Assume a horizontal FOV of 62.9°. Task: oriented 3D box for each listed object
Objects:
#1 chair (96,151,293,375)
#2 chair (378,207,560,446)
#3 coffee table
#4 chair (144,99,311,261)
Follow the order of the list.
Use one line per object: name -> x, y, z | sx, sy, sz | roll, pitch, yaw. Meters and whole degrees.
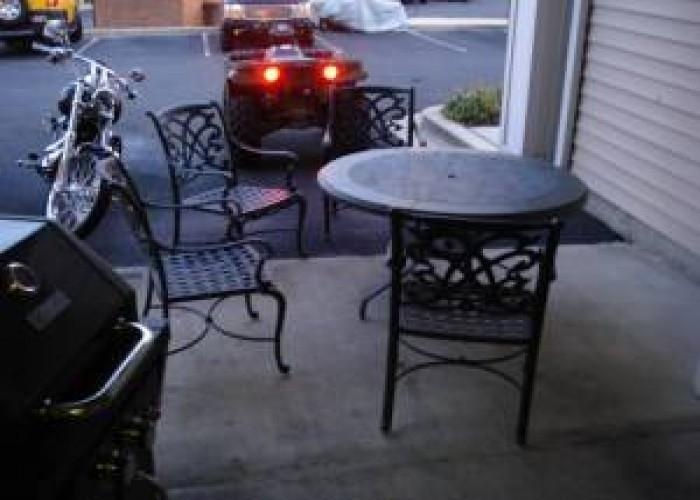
chair -> -0.555, 0.040, 2.099 | 0.625, 0.771, 0.522 | -9, 25, -28
chair -> 0.390, 0.141, 1.941 | 0.591, 0.820, 0.618 | -2, 23, -4
coffee table -> 0.357, -0.068, 2.054 | 0.824, 0.411, 0.829 | 11, 24, 21
chair -> -0.543, -0.302, 2.658 | 0.521, 0.689, 0.539 | -2, 4, 25
